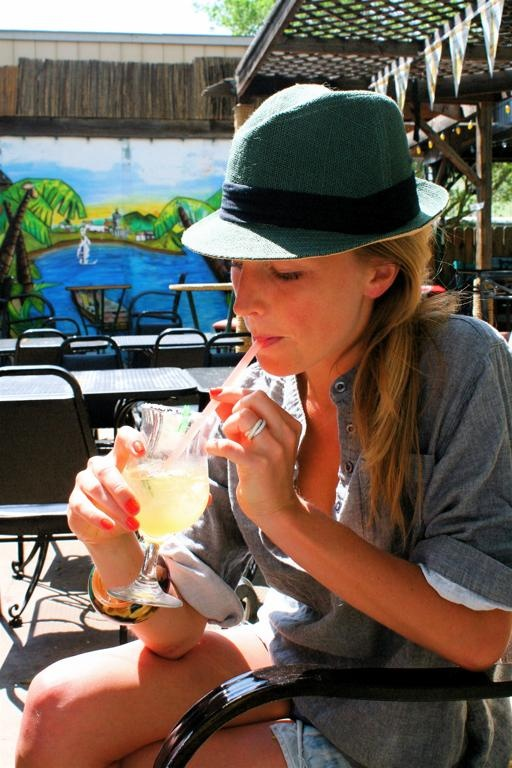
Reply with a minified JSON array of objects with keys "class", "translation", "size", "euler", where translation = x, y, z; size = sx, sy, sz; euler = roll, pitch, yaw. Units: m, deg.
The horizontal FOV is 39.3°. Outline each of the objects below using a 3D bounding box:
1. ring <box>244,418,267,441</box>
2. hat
[{"class":"ring","translation":[0.000,0.075,1.194],"size":[0.014,0.030,0.030],"euler":[27,19,15]},{"class":"hat","translation":[0.109,-0.342,1.196],"size":[0.325,0.167,0.398],"euler":[-9,16,-14]}]
